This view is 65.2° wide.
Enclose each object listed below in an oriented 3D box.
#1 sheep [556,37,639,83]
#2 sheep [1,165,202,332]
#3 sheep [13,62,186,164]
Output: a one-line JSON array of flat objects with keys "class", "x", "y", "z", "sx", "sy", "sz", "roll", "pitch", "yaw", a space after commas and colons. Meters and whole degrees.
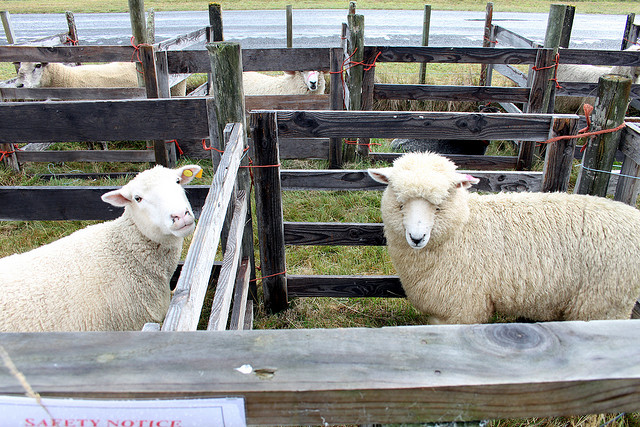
[{"class": "sheep", "x": 5.218, "y": -2.830, "z": 9.477, "sx": 1.308, "sy": 0.611, "sz": 3.617, "roll": 8, "pitch": 22, "yaw": 23}, {"class": "sheep", "x": -1.570, "y": 0.315, "z": 3.598, "sx": 1.363, "sy": 1.178, "sz": 0.773, "roll": -7, "pitch": 24, "yaw": -13}, {"class": "sheep", "x": -3.953, "y": -2.346, "z": 9.073, "sx": 0.823, "sy": 1.129, "sz": 2.486, "roll": 8, "pitch": 23, "yaw": 35}]
